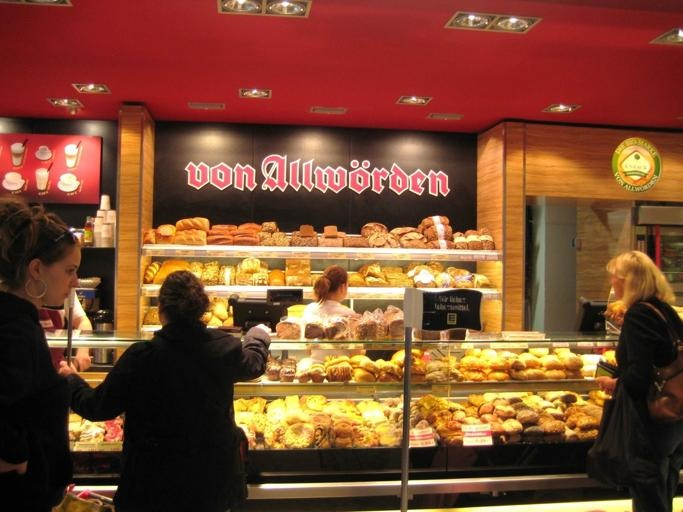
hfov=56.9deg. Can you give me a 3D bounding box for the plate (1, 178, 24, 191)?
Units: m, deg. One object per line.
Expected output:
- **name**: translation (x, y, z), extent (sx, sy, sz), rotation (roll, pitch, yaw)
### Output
- **plate**: translation (-3.509, -0.768, 6.720), extent (0.223, 0.164, 0.053), rotation (1, -1, 0)

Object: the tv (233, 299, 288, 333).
- **tv**: translation (-0.605, 0.407, 4.804), extent (0.478, 0.350, 0.244), rotation (0, -4, -6)

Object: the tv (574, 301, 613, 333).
- **tv**: translation (2.043, 0.507, 5.172), extent (0.219, 0.181, 0.213), rotation (15, -14, -41)

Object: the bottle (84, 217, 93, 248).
- **bottle**: translation (-2.648, -0.258, 6.589), extent (0.091, 0.304, 0.196), rotation (1, -2, -22)
